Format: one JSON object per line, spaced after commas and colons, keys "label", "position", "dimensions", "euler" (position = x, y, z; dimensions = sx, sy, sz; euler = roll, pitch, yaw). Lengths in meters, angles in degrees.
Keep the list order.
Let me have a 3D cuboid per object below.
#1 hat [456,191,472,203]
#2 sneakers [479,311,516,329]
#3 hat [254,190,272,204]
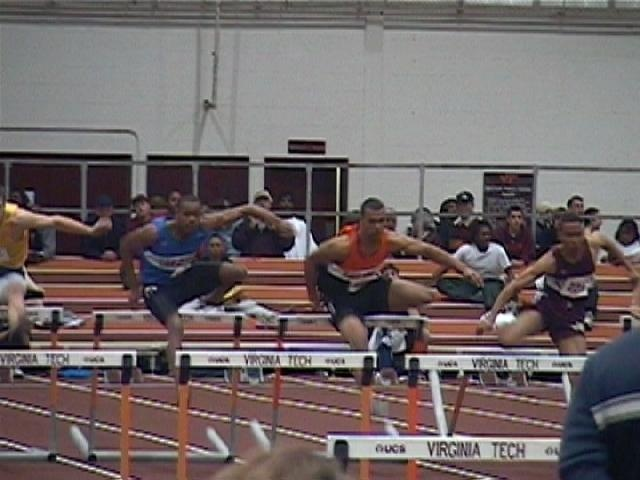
{"label": "hat", "position": [2.073, -0.603, 21.471], "dimensions": [0.160, 0.105, 0.236], "euler": [0, -2, 4]}
{"label": "sneakers", "position": [2.356, 1.067, 19.832], "dimensions": [0.419, 0.129, 0.247], "euler": [-1, 5, -6]}
{"label": "hat", "position": [-0.817, -0.629, 21.378], "dimensions": [0.168, 0.224, 0.195], "euler": [4, 11, 23]}
